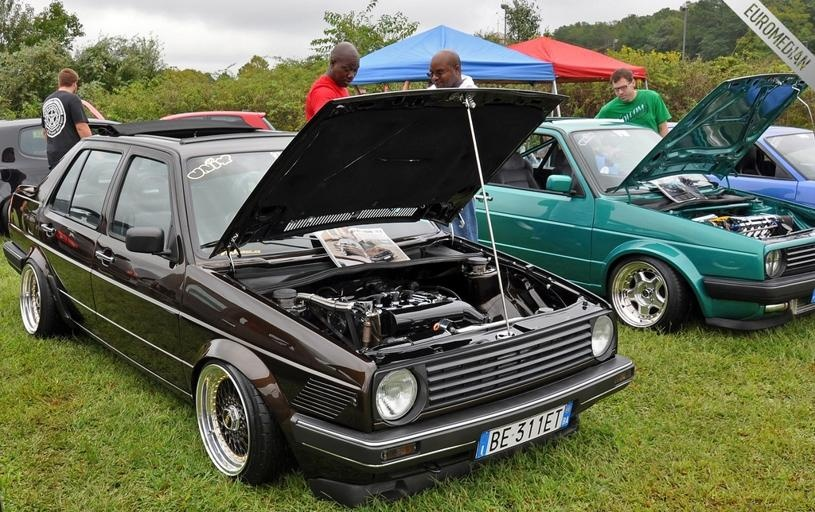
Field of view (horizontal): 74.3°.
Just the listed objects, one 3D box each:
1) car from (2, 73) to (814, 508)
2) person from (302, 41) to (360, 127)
[{"bbox_3d":[-1.010,-0.048,4.806,2.700,2.200,4.811,-14,23,-42],"label":"car"},{"bbox_3d":[-0.792,-1.865,5.978,0.531,0.919,0.977,12,21,5],"label":"person"}]
